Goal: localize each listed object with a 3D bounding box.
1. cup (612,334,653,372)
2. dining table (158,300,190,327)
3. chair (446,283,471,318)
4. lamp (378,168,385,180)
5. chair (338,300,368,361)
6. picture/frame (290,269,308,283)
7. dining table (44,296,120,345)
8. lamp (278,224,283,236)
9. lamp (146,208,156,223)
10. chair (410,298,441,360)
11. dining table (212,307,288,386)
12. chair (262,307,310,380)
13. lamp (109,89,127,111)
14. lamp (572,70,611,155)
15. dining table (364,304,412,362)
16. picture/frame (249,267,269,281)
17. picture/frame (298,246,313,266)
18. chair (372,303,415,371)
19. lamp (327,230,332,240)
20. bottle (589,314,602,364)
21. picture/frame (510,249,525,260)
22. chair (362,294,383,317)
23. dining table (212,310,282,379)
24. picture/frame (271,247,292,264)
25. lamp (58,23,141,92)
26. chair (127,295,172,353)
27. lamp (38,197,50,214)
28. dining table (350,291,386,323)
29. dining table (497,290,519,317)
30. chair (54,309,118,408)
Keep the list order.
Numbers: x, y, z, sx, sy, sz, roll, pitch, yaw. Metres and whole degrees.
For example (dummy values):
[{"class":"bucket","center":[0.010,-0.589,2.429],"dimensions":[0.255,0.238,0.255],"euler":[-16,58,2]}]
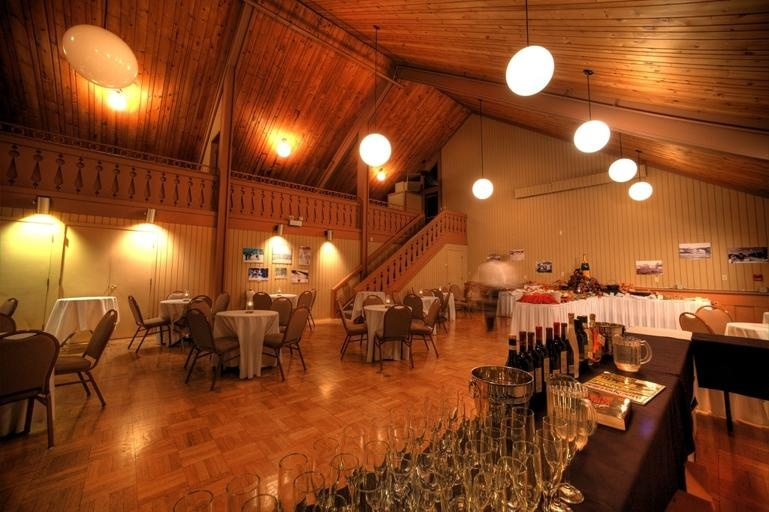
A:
[{"class":"cup","center":[3.174,1.258,6.536],"dimensions":[0.495,0.557,0.338],"euler":[0,-2,15]},{"class":"dining table","center":[-4.465,1.157,10.627],"dimensions":[0.546,0.476,0.620],"euler":[2,-6,-41]},{"class":"chair","center":[2.174,1.180,13.675],"dimensions":[0.628,0.881,0.670],"euler":[-5,-3,19]},{"class":"lamp","center":[-0.110,-2.685,16.385],"dimensions":[0.273,0.441,0.297],"euler":[5,9,-1]},{"class":"chair","center":[-0.638,1.437,10.281],"dimensions":[0.695,1.103,0.727],"euler":[-3,3,6]},{"class":"picture/frame","center":[-2.311,0.525,13.747],"dimensions":[0.523,0.391,0.046],"euler":[4,-6,-39]},{"class":"dining table","center":[-6.137,1.262,10.060],"dimensions":[1.122,0.749,0.892],"euler":[2,1,-45]},{"class":"lamp","center":[-2.769,-0.730,13.359],"dimensions":[0.170,0.292,0.143],"euler":[4,-6,-37]},{"class":"lamp","center":[-5.369,-0.951,11.539],"dimensions":[0.195,0.354,0.263],"euler":[3,-5,-31]},{"class":"chair","center":[0.727,1.423,10.192],"dimensions":[0.828,1.198,0.864],"euler":[3,-1,20]},{"class":"dining table","center":[-2.658,1.426,9.418],"dimensions":[1.111,1.248,1.132],"euler":[23,16,34]},{"class":"chair","center":[-1.878,1.476,9.218],"dimensions":[0.733,1.266,0.721],"euler":[8,5,17]},{"class":"lamp","center":[-6.012,-3.565,11.306],"dimensions":[0.373,0.421,0.550],"euler":[-4,39,-17]},{"class":"lamp","center":[3.724,-2.550,9.003],"dimensions":[0.553,1.326,0.932],"euler":[-2,-5,26]},{"class":"dining table","center":[0.193,1.452,9.714],"dimensions":[0.728,1.169,0.759],"euler":[1,4,-23]},{"class":"picture/frame","center":[-3.287,0.441,13.109],"dimensions":[0.549,0.347,0.055],"euler":[3,-5,-30]},{"class":"picture/frame","center":[-2.206,-0.031,13.841],"dimensions":[0.457,0.701,0.064],"euler":[2,-3,-44]},{"class":"chair","center":[0.162,1.474,9.700],"dimensions":[0.774,1.265,0.764],"euler":[-2,6,-33]},{"class":"lamp","center":[-1.564,-0.631,14.278],"dimensions":[0.236,0.316,0.147],"euler":[2,-5,-25]},{"class":"bottle","center":[2.796,1.106,6.759],"dimensions":[0.166,0.650,0.161],"euler":[-1,-8,0]},{"class":"picture/frame","center":[4.000,-0.051,15.047],"dimensions":[0.068,0.299,0.285],"euler":[17,-7,-41]},{"class":"chair","center":[-0.254,1.031,11.046],"dimensions":[0.338,0.522,0.466],"euler":[0,-12,-3]},{"class":"dining table","center":[-2.630,1.481,9.326],"dimensions":[0.987,1.136,1.003],"euler":[14,0,-25]},{"class":"picture/frame","center":[-2.795,-0.044,13.448],"dimensions":[0.409,0.392,0.039],"euler":[1,1,-33]},{"class":"lamp","center":[-4.930,-3.485,8.717],"dimensions":[1.147,1.245,0.626],"euler":[0,0,-38]},{"class":"chair","center":[-4.909,1.357,10.483],"dimensions":[0.705,1.200,0.808],"euler":[2,5,37]},{"class":"lamp","center":[-7.188,-1.080,10.518],"dimensions":[0.249,0.356,0.205],"euler":[2,-5,-24]},{"class":"dining table","center":[-0.496,1.179,11.935],"dimensions":[0.666,0.664,0.664],"euler":[5,-6,-43]},{"class":"dining table","center":[3.570,1.318,13.816],"dimensions":[0.663,0.807,0.749],"euler":[1,-3,-8]},{"class":"chair","center":[-5.054,1.674,8.457],"dimensions":[0.813,1.545,1.702],"euler":[3,-6,-33]}]
